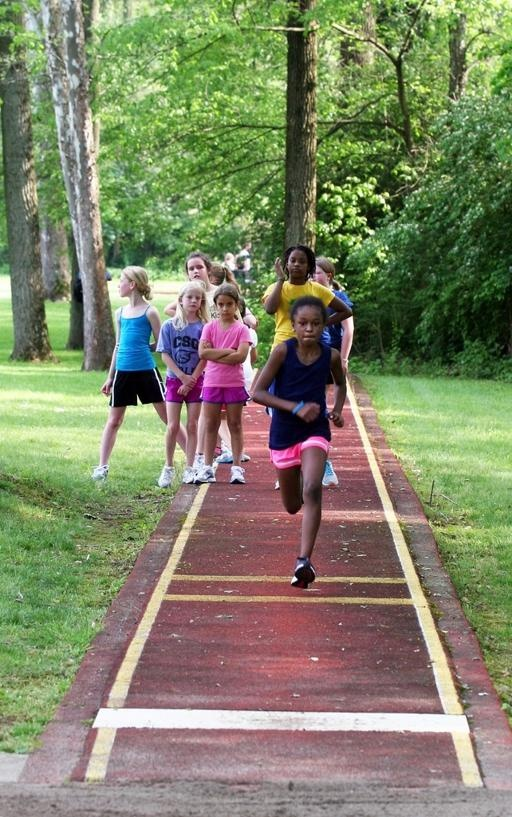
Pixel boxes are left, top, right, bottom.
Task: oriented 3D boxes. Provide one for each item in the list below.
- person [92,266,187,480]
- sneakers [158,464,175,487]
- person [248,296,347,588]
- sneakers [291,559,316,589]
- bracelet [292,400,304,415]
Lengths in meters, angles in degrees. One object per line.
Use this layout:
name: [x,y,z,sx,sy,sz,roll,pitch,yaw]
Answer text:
person: [-1.082,-0.315,8.160,0.735,1.844,0.781,0,8,-11]
sneakers: [-0.789,0.598,8.069,0.088,0.234,0.106,3,-14,-2]
person: [0.214,0.224,4.852,0.477,1.604,1.110,2,8,5]
sneakers: [0.224,0.793,4.480,0.086,0.094,0.215,10,-15,3]
bracelet: [0.212,-0.006,4.682,0.021,0.057,0.050,45,5,-9]
